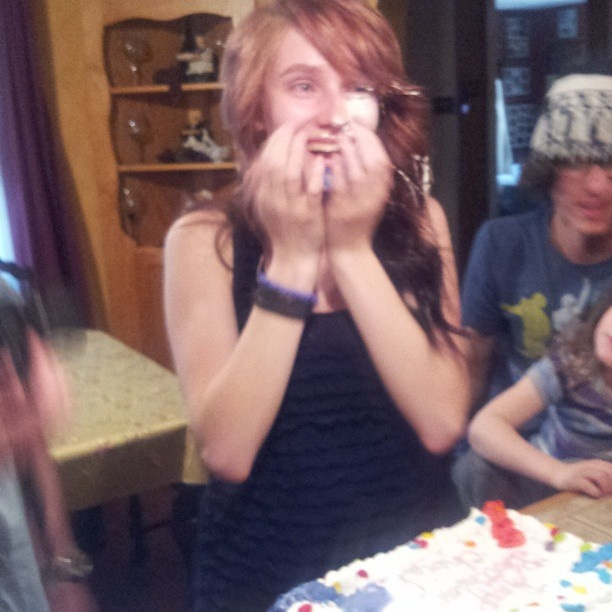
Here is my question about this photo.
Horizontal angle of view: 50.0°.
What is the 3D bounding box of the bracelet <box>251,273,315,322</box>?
[{"bbox_3d":[-0.037,-0.008,1.000,0.075,0.042,0.064,21,-1,-4],"label":"bracelet"}]
